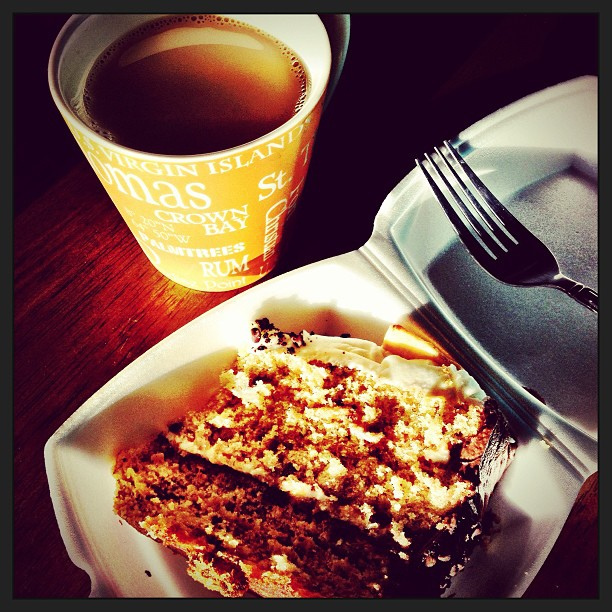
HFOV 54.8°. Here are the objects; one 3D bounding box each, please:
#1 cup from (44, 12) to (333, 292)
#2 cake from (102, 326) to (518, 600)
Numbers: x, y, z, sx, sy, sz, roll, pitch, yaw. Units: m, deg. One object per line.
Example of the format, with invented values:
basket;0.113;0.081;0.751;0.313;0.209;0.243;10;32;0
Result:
cup;-0.074;-0.129;0.457;0.158;0.157;0.207;23;56;7
cake;0.012;0.114;0.461;0.281;0.058;0.226;24;60;5
